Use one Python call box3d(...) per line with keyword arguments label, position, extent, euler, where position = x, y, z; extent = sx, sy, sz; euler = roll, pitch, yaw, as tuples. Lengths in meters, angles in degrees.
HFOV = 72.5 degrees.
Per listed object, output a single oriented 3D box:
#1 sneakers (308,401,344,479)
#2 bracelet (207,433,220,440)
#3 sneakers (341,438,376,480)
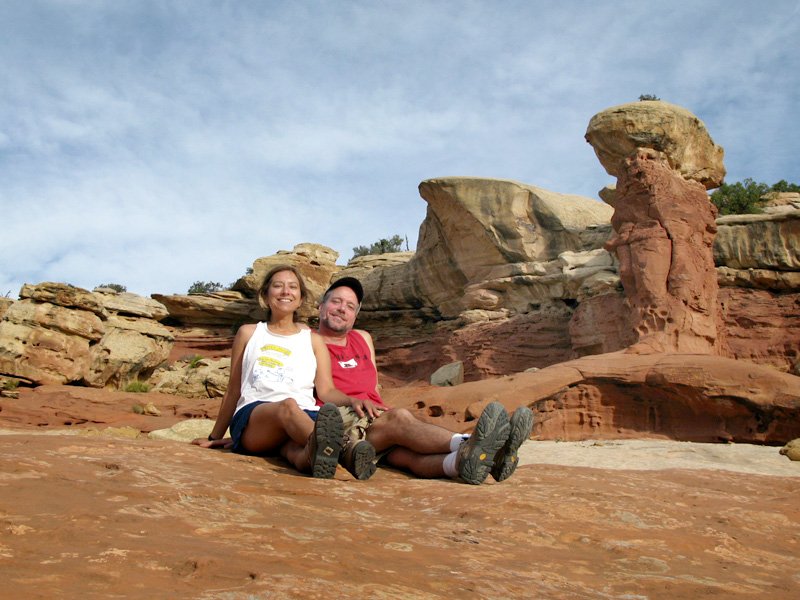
box3d(label="sneakers", position=(-0.504, 0.915, 3.560), extent=(0.245, 0.478, 0.243), euler=(4, 11, -11))
box3d(label="bracelet", position=(-1.539, 1.104, 4.420), extent=(0.088, 0.045, 0.074), euler=(0, -3, 5))
box3d(label="sneakers", position=(-0.296, 1.101, 3.766), extent=(0.250, 0.285, 0.249), euler=(9, -6, -3))
